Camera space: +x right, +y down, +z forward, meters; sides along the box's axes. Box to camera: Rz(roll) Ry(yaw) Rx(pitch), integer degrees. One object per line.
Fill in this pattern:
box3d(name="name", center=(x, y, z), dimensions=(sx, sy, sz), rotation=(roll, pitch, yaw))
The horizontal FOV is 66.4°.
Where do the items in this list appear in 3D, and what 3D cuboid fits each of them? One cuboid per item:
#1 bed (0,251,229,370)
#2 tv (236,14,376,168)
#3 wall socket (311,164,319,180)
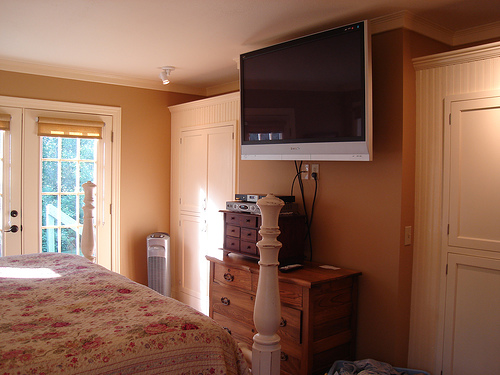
box3d(name="bed", center=(-0.844, 0.740, 2.413), dimensions=(1.043, 0.369, 1.604), rotation=(1, 2, -36))
box3d(name="tv", center=(0.425, -0.755, 3.359), dimensions=(0.135, 1.041, 1.403), rotation=(-6, 8, -43))
box3d(name="wall socket", center=(0.603, -0.153, 3.532), dimensions=(0.023, 0.144, 0.085), rotation=(0, 8, -43))
